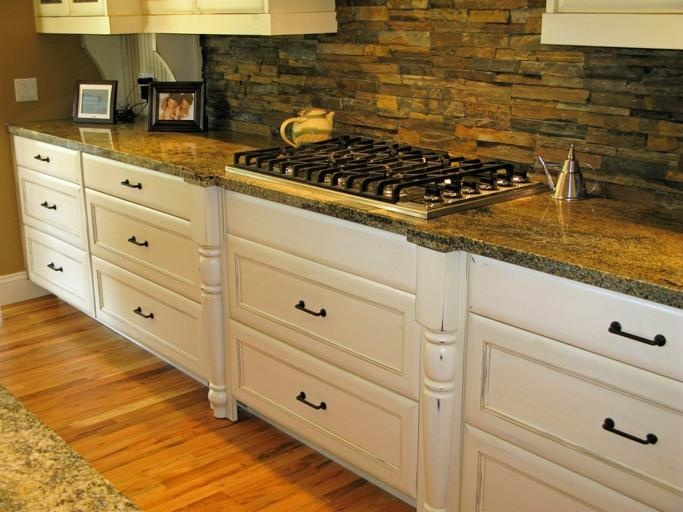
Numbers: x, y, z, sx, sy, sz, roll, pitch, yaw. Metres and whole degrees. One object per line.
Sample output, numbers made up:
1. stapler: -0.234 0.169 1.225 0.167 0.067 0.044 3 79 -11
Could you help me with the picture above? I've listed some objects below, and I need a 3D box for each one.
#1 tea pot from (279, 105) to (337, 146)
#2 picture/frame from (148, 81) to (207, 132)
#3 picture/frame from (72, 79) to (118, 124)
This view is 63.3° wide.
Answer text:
1. tea pot: -0.143 -0.583 2.531 0.278 0.172 0.195 -15 30 -24
2. picture/frame: -0.954 -0.867 3.206 0.368 0.275 0.023 1 4 5
3. picture/frame: -1.548 -0.973 3.470 0.321 0.262 0.024 8 7 18
